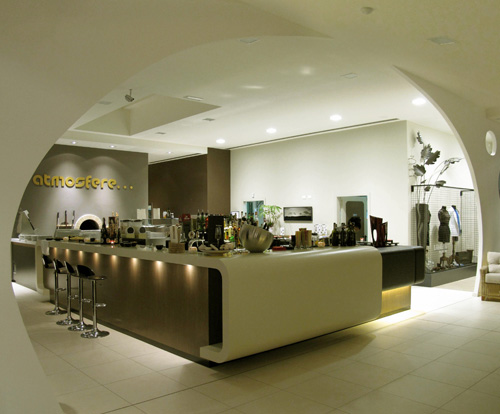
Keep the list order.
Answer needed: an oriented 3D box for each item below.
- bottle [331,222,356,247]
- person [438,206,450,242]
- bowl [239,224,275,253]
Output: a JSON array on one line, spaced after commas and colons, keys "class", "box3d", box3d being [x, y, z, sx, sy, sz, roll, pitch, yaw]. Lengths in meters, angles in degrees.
[{"class": "bottle", "box3d": [1.313, 0.388, 5.522, 0.341, 0.353, 0.311, 4, -7, -44]}, {"class": "person", "box3d": [4.531, 0.406, 9.131, 0.468, 0.831, 0.133, 1, -1, -41]}, {"class": "bowl", "box3d": [0.065, 0.378, 4.341, 0.311, 0.234, 0.276, 21, -14, -14]}]
